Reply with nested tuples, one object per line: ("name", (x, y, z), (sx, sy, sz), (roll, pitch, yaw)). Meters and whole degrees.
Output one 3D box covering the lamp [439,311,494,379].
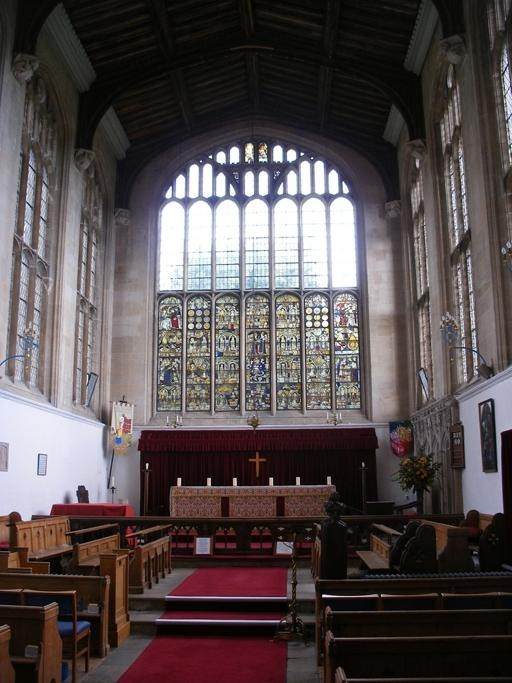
("lamp", (4.511, 0.321, 13.854), (1.256, 0.311, 0.405), (36, -53, -22))
